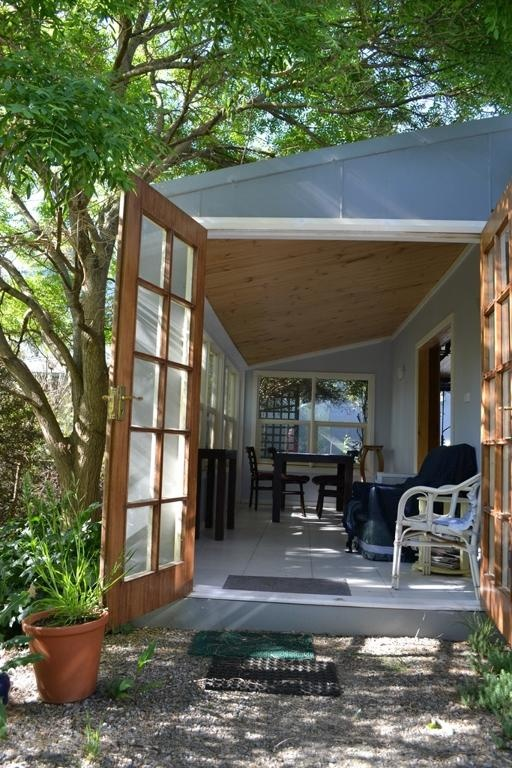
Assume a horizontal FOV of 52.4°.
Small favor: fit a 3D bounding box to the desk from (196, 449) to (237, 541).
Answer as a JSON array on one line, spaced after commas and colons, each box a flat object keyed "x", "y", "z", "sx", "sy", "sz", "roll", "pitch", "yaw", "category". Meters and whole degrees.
[{"x": -0.397, "y": 1.121, "z": 5.119, "sx": 0.347, "sy": 0.984, "sz": 1.111, "roll": 0, "pitch": -6, "yaw": 4, "category": "desk"}]

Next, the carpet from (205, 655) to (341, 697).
[{"x": 0.065, "y": 1.142, "z": 2.017, "sx": 0.505, "sy": 0.016, "sz": 0.412, "roll": 1, "pitch": -13, "yaw": 2, "category": "carpet"}]

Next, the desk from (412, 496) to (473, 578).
[{"x": 1.323, "y": 1.145, "z": 3.913, "sx": 0.456, "sy": 0.569, "sz": 0.481, "roll": 2, "pitch": -7, "yaw": 2, "category": "desk"}]

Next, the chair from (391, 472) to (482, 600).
[{"x": 1.179, "y": 0.966, "z": 3.384, "sx": 0.504, "sy": 0.668, "sz": 1.446, "roll": -3, "pitch": -14, "yaw": 22, "category": "chair"}]

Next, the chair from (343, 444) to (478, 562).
[{"x": 1.313, "y": 0.989, "z": 4.580, "sx": 0.916, "sy": 0.980, "sz": 0.965, "roll": 3, "pitch": -13, "yaw": 4, "category": "chair"}]

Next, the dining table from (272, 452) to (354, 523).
[{"x": 0.682, "y": 1.093, "z": 6.400, "sx": 1.073, "sy": 1.141, "sz": 1.169, "roll": 1, "pitch": -6, "yaw": 4, "category": "dining table"}]

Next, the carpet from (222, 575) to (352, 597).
[{"x": 0.180, "y": 1.182, "z": 3.011, "sx": 0.708, "sy": 0.026, "sz": 0.562, "roll": 1, "pitch": -13, "yaw": 2, "category": "carpet"}]
